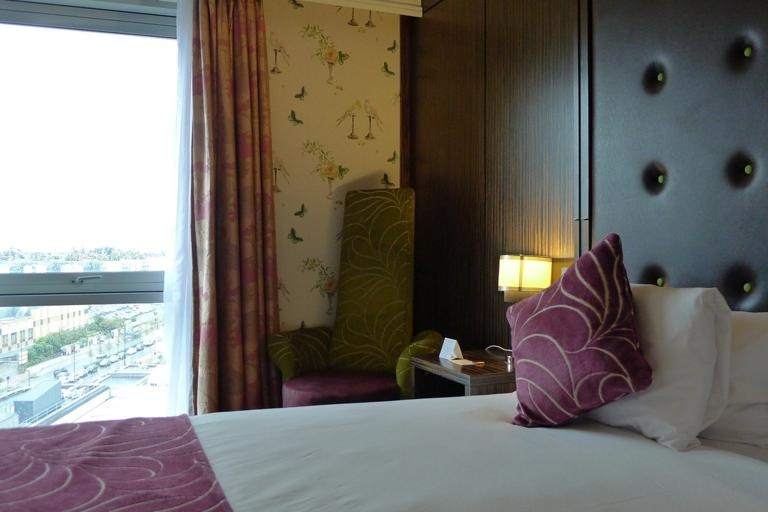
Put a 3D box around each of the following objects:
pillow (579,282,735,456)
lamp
[{"bbox_3d":[0.988,0.422,2.046,0.249,0.462,0.484,-7,-2,-30],"label":"pillow"},{"bbox_3d":[0.750,0.241,3.113,0.265,0.596,0.199,-6,18,-21],"label":"lamp"}]
